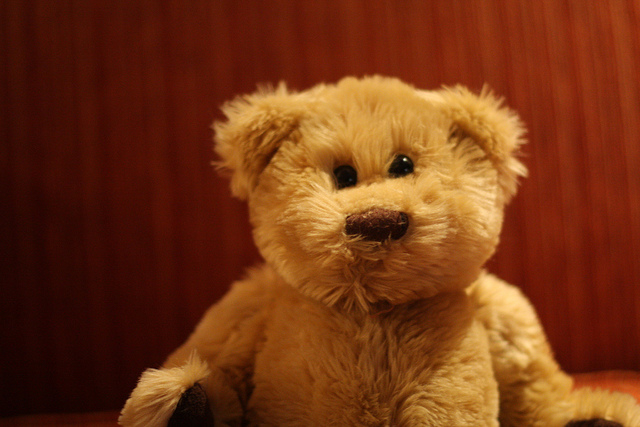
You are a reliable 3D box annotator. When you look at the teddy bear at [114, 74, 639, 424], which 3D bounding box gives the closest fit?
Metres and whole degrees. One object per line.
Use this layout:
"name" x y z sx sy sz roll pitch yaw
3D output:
"teddy bear" 0.147 0.001 1.653 1.190 1.034 0.640 1 -10 -2
